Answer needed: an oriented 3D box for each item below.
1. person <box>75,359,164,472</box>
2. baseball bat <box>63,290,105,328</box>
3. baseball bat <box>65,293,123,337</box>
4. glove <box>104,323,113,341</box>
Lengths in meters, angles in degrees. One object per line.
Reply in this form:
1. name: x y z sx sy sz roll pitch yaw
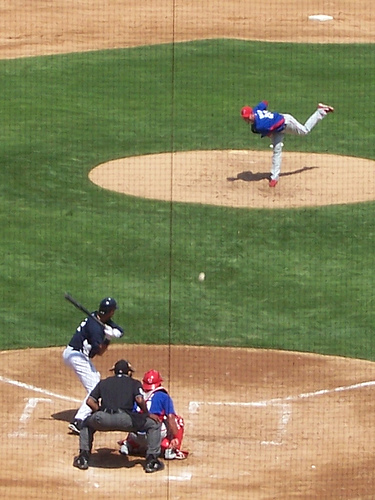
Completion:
1. person: -0.828 2.199 15.469 1.061 1.258 1.363 1 -19 2
2. baseball bat: -1.520 0.907 17.966 0.115 0.612 0.127 -38 22 7
3. baseball bat: -1.319 0.964 17.234 0.890 0.107 0.127 42 6 -18
4. glove: -1.003 1.080 15.608 0.038 0.161 0.101 -11 15 -14
